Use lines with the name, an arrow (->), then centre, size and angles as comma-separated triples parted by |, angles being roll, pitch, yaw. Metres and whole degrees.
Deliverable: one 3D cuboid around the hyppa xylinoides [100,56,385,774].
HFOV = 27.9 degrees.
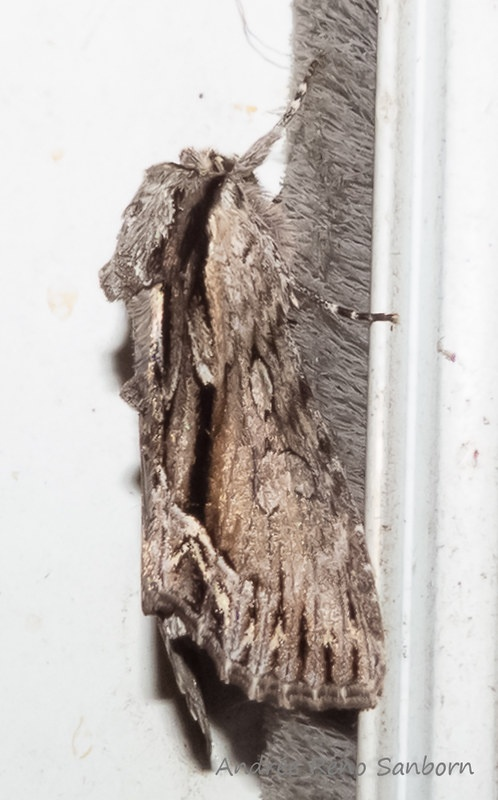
hyppa xylinoides -> 0.011, 0.019, 1.236 | 0.334, 0.195, 0.715 | -6, 91, 17
